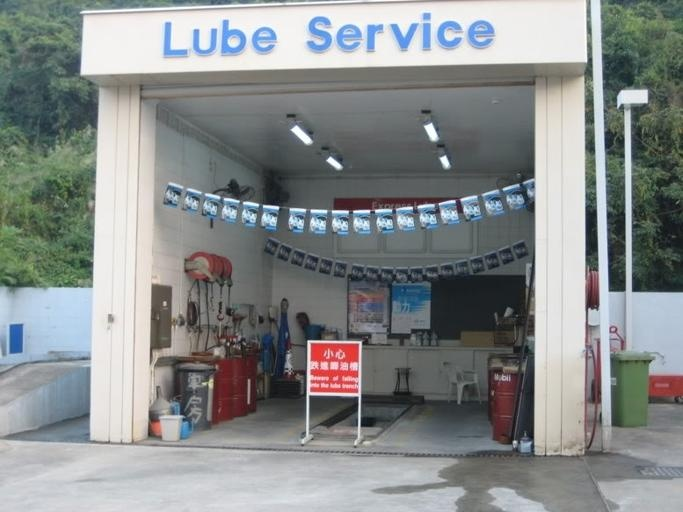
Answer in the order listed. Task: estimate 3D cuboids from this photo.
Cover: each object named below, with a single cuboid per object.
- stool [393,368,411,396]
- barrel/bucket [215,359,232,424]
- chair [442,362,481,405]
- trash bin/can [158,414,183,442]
[{"bbox_3d":[1.226,2.510,16.902,0.428,0.666,0.455,1,-13,1],"label":"stool"},{"bbox_3d":[-1.908,2.158,13.506,0.207,0.965,0.621,2,7,18],"label":"barrel/bucket"},{"bbox_3d":[2.389,2.526,16.557,0.686,1.048,0.771,-3,-4,2],"label":"chair"},{"bbox_3d":[-2.397,2.455,12.005,0.408,0.410,0.297,0,-13,-1],"label":"trash bin/can"}]
